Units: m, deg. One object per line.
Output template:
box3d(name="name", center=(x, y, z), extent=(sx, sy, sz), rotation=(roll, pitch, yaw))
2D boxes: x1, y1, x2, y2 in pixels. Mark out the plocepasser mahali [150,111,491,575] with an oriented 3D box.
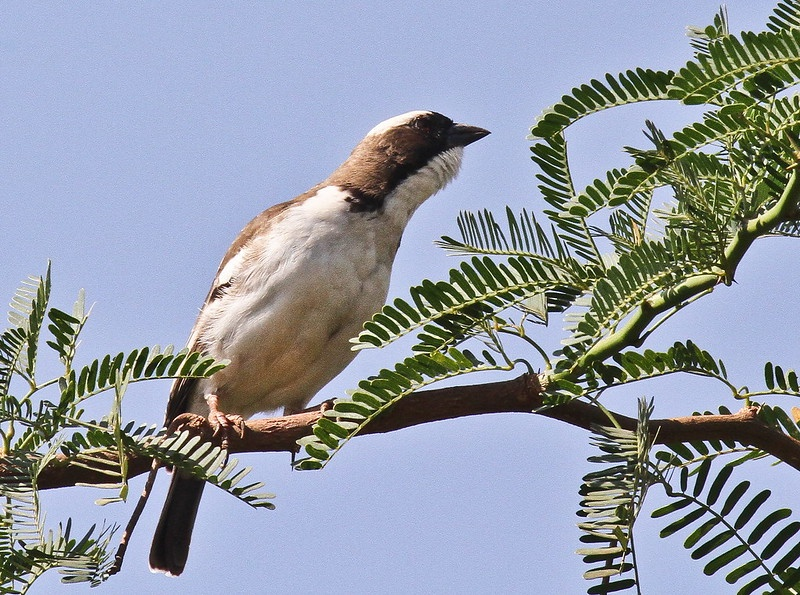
box3d(name="plocepasser mahali", center=(-0.357, -0.359, 6.554), extent=(1.220, 1.673, 0.787), rotation=(-4, -38, 3))
